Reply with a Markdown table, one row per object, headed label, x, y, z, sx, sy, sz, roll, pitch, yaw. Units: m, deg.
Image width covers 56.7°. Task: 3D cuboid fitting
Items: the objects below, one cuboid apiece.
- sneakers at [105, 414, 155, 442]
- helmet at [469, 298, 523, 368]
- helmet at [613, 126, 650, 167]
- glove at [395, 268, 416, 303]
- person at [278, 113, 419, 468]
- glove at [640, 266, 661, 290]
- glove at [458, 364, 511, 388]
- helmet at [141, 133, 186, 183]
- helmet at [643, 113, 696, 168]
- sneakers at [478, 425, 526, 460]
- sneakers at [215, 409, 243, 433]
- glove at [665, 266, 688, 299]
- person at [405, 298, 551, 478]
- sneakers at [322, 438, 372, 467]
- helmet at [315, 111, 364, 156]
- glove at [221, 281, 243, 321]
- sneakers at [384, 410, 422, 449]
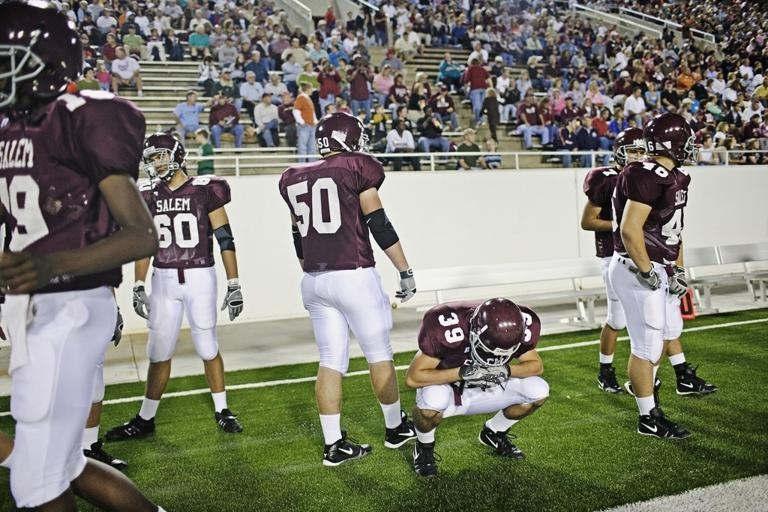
| label | x | y | z | sx | sy | sz | roll | pitch | yaw |
| --- | --- | --- | --- | --- | --- | --- | --- | --- | --- |
| sneakers | -1.984 | 1.365 | 5.672 | 0.444 | 0.192 | 0.156 | 3 | 3 | -35 |
| helmet | 0.719 | 0.511 | 4.619 | 0.325 | 0.426 | 0.353 | 6 | -9 | -6 |
| helmet | 2.248 | -1.061 | 6.492 | 0.278 | 0.345 | 0.389 | 2 | -1 | 21 |
| glove | 0.177 | 0.206 | 5.117 | 0.156 | 0.244 | 0.126 | -14 | -5 | 20 |
| person | -0.249 | 0.210 | 5.122 | 0.919 | 2.481 | 0.556 | -2 | 7 | -3 |
| glove | 1.958 | 0.169 | 5.253 | 0.097 | 0.087 | 0.232 | 3 | 11 | 2 |
| glove | 0.665 | 0.778 | 4.747 | 0.273 | 0.165 | 0.123 | -2 | 14 | 8 |
| helmet | -1.777 | -0.799 | 5.734 | 0.309 | 0.412 | 0.420 | -8 | 7 | 16 |
| helmet | 2.198 | -0.904 | 5.486 | 0.415 | 0.417 | 0.348 | -5 | 10 | 2 |
| sneakers | 0.848 | 1.338 | 5.165 | 0.148 | 0.177 | 0.411 | -2 | 18 | -40 |
| sneakers | -1.256 | 1.320 | 5.726 | 0.112 | 0.117 | 0.283 | -3 | 3 | -35 |
| glove | 2.272 | 0.185 | 5.596 | 0.146 | 0.105 | 0.286 | 9 | 50 | -16 |
| person | 0.552 | 0.801 | 5.180 | 1.183 | 1.417 | 1.075 | -2 | 4 | -17 |
| sneakers | -0.279 | 1.382 | 5.129 | 0.443 | 0.204 | 0.142 | -2 | 5 | -38 |
| helmet | -0.312 | -0.898 | 5.216 | 0.406 | 0.337 | 0.297 | -8 | 11 | -26 |
| glove | -1.221 | 0.347 | 5.713 | 0.224 | 0.345 | 0.149 | -2 | 11 | -4 |
| sneakers | 0.157 | 1.267 | 5.339 | 0.407 | 0.229 | 0.140 | -11 | 14 | -42 |
